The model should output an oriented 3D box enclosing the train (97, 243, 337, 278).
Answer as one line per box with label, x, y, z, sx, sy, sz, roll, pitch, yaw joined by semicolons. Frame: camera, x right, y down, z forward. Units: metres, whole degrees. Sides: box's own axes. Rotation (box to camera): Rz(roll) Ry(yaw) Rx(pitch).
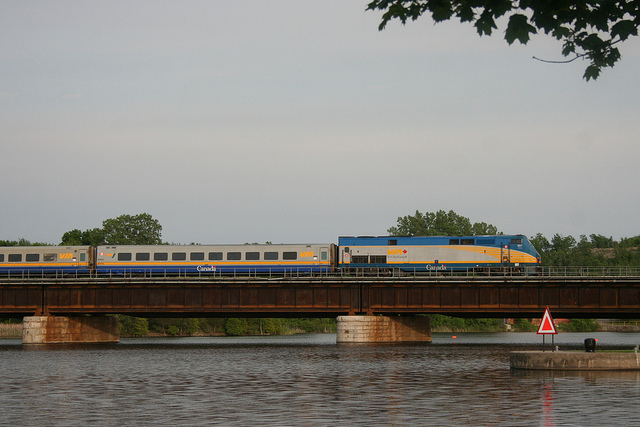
train;-11.290;5.206;181.493;27.646;4.378;4.249;0;3;-3
